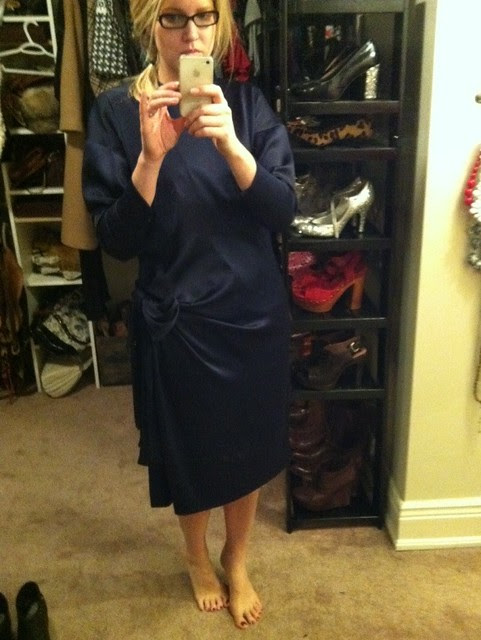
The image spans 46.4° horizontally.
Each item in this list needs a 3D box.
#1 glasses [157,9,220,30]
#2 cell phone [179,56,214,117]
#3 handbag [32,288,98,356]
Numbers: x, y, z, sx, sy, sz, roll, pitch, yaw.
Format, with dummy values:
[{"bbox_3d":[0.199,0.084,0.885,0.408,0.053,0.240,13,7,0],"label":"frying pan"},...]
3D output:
[{"bbox_3d":[-0.069,-0.410,0.768,0.084,0.022,0.024,-8,23,-13],"label":"glasses"},{"bbox_3d":[-0.058,-0.309,0.743,0.046,0.072,0.023,-7,22,-8],"label":"cell phone"},{"bbox_3d":[-0.613,0.005,1.948,0.089,0.229,0.176,-26,-9,39],"label":"handbag"}]
